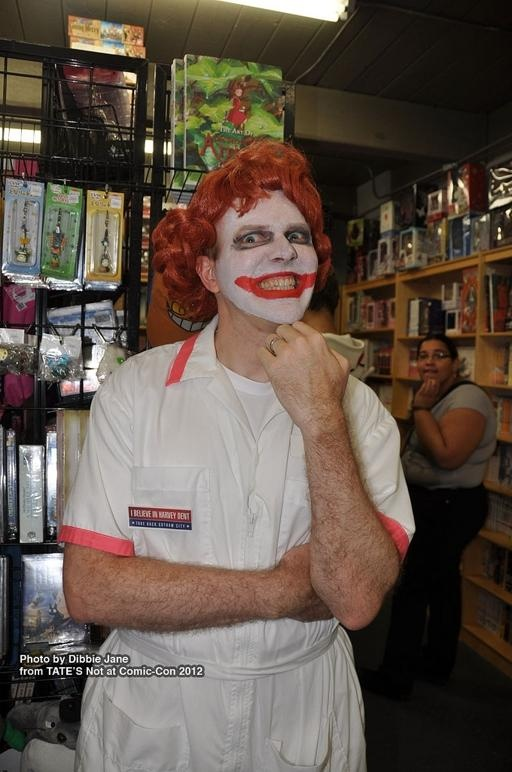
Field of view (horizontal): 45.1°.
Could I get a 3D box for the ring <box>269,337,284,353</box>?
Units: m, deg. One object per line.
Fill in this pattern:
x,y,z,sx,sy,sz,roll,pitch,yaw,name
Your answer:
0.035,-0.072,1.078,0.010,0.027,0.023,7,9,8,ring
